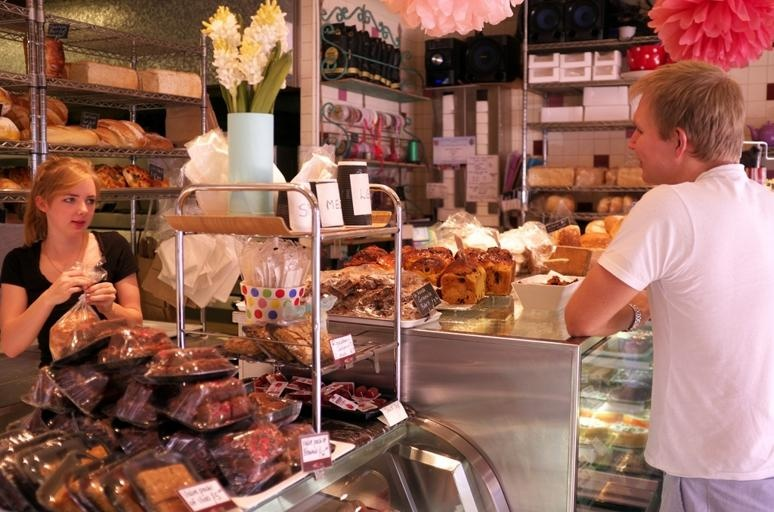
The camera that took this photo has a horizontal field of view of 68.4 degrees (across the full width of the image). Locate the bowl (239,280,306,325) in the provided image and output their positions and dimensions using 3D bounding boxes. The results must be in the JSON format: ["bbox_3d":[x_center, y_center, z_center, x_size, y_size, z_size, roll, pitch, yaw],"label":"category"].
[{"bbox_3d":[-0.342,0.136,1.703,0.149,0.084,0.139,0,-3,0],"label":"bowl"}]

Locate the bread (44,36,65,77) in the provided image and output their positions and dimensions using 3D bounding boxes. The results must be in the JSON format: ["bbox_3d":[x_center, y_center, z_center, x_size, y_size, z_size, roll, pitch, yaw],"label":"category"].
[{"bbox_3d":[-2.301,-1.378,3.954,0.109,0.316,0.364,-4,7,-25],"label":"bread"}]

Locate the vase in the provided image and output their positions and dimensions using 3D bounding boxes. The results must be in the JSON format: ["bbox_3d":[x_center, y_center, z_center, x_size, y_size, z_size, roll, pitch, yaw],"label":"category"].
[{"bbox_3d":[-0.378,-0.259,1.581,0.126,0.287,0.129,-2,7,-13],"label":"vase"}]

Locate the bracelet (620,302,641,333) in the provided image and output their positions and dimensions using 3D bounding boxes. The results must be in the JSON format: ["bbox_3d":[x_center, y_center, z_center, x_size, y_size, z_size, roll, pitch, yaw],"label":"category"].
[{"bbox_3d":[0.787,0.195,1.850,0.092,0.092,0.066,-9,-5,32],"label":"bracelet"}]

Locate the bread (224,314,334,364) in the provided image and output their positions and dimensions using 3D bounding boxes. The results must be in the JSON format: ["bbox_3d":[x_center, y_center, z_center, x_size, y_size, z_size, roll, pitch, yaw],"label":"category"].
[{"bbox_3d":[-0.325,0.245,1.680,0.225,0.075,0.171,5,4,27],"label":"bread"}]

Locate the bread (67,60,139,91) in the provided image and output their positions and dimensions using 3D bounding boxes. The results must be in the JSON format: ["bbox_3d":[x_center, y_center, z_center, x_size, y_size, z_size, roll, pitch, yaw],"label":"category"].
[{"bbox_3d":[-1.992,-1.275,4.062,0.364,0.086,0.355,-2,3,-45],"label":"bread"}]

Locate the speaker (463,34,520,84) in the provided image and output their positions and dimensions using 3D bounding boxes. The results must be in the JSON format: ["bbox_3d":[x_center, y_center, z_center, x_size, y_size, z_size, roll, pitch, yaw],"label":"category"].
[{"bbox_3d":[1.103,-2.004,6.085,0.581,0.494,0.577,0,4,25],"label":"speaker"}]

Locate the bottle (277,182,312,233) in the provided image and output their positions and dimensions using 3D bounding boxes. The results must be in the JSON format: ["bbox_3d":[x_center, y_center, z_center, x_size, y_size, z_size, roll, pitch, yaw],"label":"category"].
[{"bbox_3d":[-0.254,-0.131,1.600,0.149,0.141,0.138,0,-2,-12],"label":"bottle"}]

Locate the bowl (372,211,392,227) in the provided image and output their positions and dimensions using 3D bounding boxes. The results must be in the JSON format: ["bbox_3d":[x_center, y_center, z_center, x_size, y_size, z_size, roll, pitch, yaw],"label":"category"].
[{"bbox_3d":[-0.017,-0.125,1.913,0.064,0.026,0.065,-1,-2,0],"label":"bowl"}]
